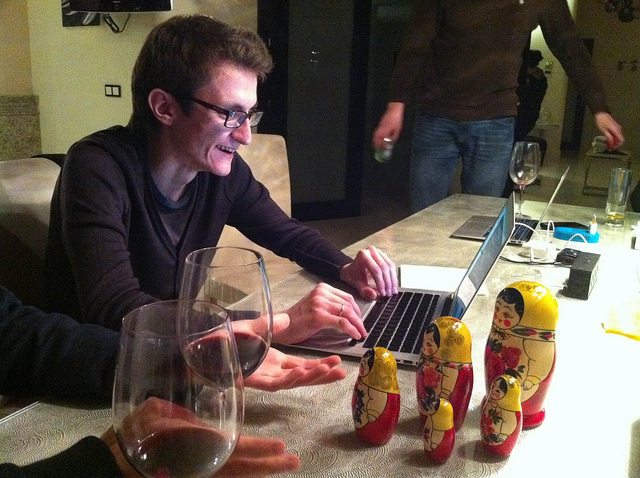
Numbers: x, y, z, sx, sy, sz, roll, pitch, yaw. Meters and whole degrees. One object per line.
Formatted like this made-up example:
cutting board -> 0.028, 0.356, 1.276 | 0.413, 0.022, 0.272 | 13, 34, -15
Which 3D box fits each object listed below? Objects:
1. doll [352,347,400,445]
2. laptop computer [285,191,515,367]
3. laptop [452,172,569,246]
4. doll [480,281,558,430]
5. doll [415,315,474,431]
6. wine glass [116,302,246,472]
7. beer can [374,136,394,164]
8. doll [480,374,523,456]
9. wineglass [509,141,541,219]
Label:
doll -> 0.076, 0.211, 0.687 | 0.064, 0.111, 0.062 | 3, 19, 5
laptop computer -> 0.175, 0.050, 1.021 | 0.387, 0.244, 0.426 | 2, 12, 14
laptop -> 0.585, -0.137, 1.621 | 0.252, 0.169, 0.279 | 6, 25, 26
doll -> 0.283, 0.146, 0.758 | 0.097, 0.232, 0.107 | 11, 18, 24
doll -> 0.177, 0.192, 0.722 | 0.080, 0.166, 0.084 | 5, 1, 27
wine glass -> -0.139, 0.153, 0.504 | 0.123, 0.134, 0.085 | -7, 21, -22
beer can -> 0.268, -0.382, 2.184 | 0.076, 0.140, 0.139 | 15, 15, 2
doll -> 0.244, 0.227, 0.683 | 0.050, 0.099, 0.081 | 9, 21, 22
wineglass -> 0.731, -0.237, 1.847 | 0.105, 0.308, 0.102 | -14, 23, -38
